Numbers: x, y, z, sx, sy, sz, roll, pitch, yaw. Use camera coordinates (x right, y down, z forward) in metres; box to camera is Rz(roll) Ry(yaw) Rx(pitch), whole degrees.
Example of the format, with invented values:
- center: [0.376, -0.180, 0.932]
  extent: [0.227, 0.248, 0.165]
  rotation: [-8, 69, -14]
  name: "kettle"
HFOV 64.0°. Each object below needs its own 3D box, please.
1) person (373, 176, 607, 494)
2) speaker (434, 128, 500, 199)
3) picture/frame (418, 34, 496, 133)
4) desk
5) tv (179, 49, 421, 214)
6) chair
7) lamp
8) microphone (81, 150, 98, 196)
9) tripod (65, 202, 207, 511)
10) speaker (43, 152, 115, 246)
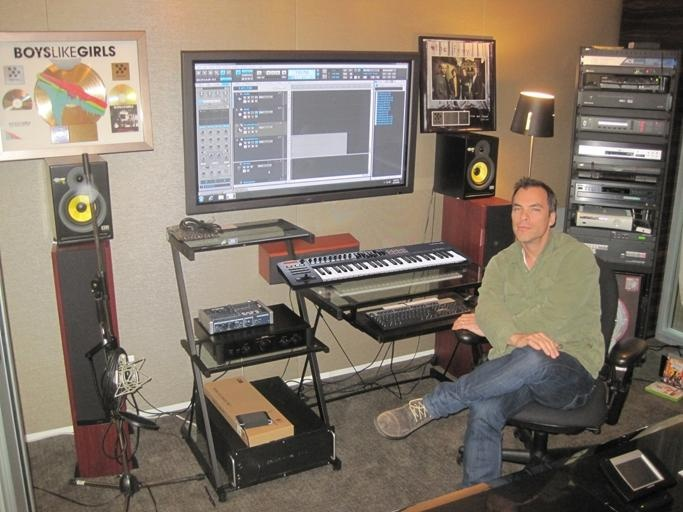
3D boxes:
- center: [0.804, 0.439, 3.530]
  extent: [1.551, 1.995, 1.028]
  rotation: [-2, -1, -32]
  name: "person"
- center: [0.834, -0.639, 3.745]
  extent: [0.288, 0.397, 0.351]
  rotation: [-10, 20, -23]
  name: "speaker"
- center: [0.764, -1.205, 3.744]
  extent: [0.660, 0.646, 0.065]
  rotation: [-8, 16, -22]
  name: "picture/frame"
- center: [-0.005, 0.496, 3.342]
  extent: [1.865, 1.326, 0.730]
  rotation: [-6, 17, -29]
  name: "desk"
- center: [-0.246, -0.733, 3.161]
  extent: [1.404, 0.918, 0.172]
  rotation: [-11, 21, -18]
  name: "tv"
- center: [1.023, 0.621, 2.807]
  extent: [0.877, 1.161, 0.802]
  rotation: [4, 11, 28]
  name: "chair"
- center: [1.374, -0.855, 3.954]
  extent: [0.289, 0.657, 0.627]
  rotation: [2, 21, 19]
  name: "lamp"
- center: [-1.202, -0.374, 2.592]
  extent: [0.062, 0.061, 0.411]
  rotation: [14, 40, -38]
  name: "microphone"
- center: [-1.191, 0.489, 2.772]
  extent: [0.505, 1.541, 0.761]
  rotation: [-16, 22, -28]
  name: "tripod"
- center: [-1.374, -0.298, 2.814]
  extent: [0.324, 0.392, 0.305]
  rotation: [-4, 19, -24]
  name: "speaker"
